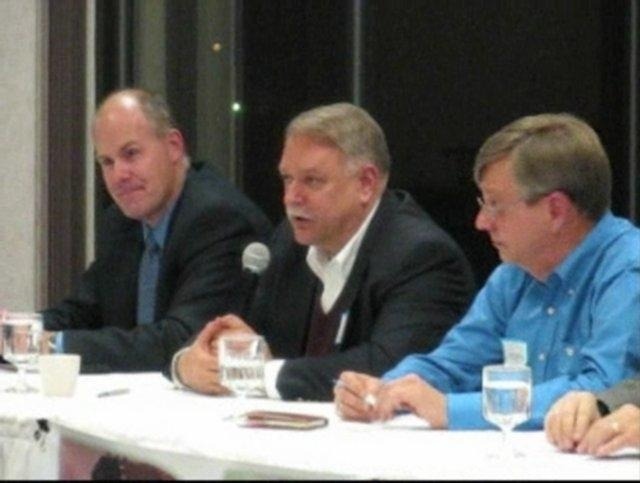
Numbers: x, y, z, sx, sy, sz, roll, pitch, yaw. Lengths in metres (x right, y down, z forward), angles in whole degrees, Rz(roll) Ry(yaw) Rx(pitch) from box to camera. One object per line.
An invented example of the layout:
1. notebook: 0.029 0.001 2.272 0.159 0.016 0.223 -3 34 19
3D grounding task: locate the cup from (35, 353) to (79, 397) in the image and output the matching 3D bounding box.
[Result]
1. cup: -0.734 0.374 2.493 0.145 0.110 0.124 10 -23 -38

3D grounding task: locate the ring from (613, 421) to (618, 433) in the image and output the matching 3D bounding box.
1. ring: 0.649 0.409 2.010 0.017 0.021 0.005 3 -9 6

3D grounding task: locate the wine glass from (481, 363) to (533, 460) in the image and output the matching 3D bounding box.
1. wine glass: 0.417 0.374 2.040 0.102 0.206 0.135 -3 0 -12

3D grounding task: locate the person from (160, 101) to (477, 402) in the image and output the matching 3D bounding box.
1. person: -0.073 0.095 3.367 0.958 1.463 0.939 6 -9 -26
